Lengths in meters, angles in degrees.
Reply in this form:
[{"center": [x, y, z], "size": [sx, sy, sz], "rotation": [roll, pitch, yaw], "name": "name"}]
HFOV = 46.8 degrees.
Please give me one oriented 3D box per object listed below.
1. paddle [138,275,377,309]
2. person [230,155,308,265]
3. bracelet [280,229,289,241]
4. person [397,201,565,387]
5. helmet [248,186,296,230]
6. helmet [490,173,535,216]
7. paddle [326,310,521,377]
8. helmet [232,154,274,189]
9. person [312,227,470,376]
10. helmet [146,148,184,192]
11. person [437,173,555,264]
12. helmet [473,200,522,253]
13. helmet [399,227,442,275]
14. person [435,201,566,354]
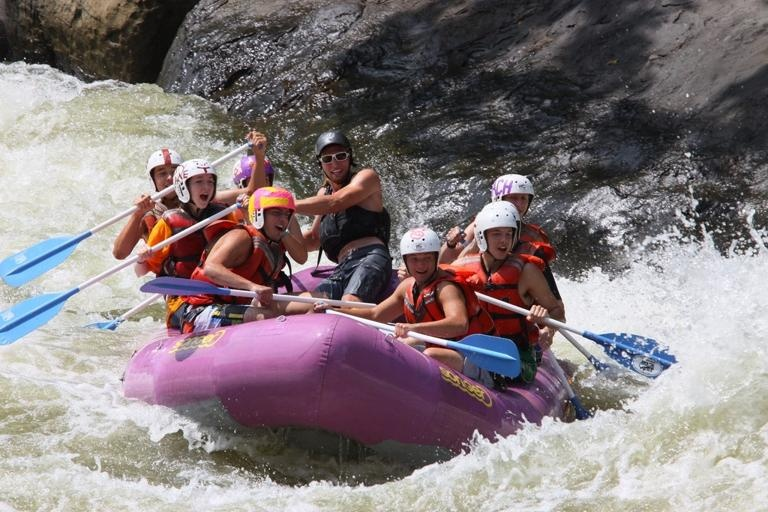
[{"center": [-1.221, 0.371, 9.003], "size": [1.687, 0.068, 0.194], "rotation": [6, 27, 13], "name": "paddle"}, {"center": [-1.254, -0.581, 9.845], "size": [0.682, 1.427, 0.477], "rotation": [-11, -6, -12], "name": "person"}, {"center": [-1.038, -0.249, 9.418], "size": [0.071, 0.023, 0.119], "rotation": [19, 29, -11], "name": "bracelet"}, {"center": [1.079, 0.759, 9.193], "size": [1.351, 2.563, 0.934], "rotation": [3, 14, 16], "name": "person"}, {"center": [-1.156, -0.505, 9.035], "size": [0.519, 0.392, 0.468], "rotation": [2, 3, 0], "name": "helmet"}, {"center": [1.423, -0.686, 10.060], "size": [0.475, 0.525, 0.577], "rotation": [-4, 4, -8], "name": "helmet"}, {"center": [0.352, 0.841, 8.270], "size": [1.788, 0.291, 0.131], "rotation": [15, -29, 3], "name": "paddle"}, {"center": [-1.590, -1.017, 10.378], "size": [0.372, 0.404, 0.496], "rotation": [-15, 9, -34], "name": "helmet"}, {"center": [0.084, 0.478, 8.721], "size": [0.973, 0.808, 1.170], "rotation": [26, 48, -23], "name": "person"}, {"center": [-2.441, -0.970, 9.991], "size": [0.423, 0.511, 0.523], "rotation": [-9, 4, -9], "name": "helmet"}, {"center": [1.230, -0.446, 9.827], "size": [0.817, 0.739, 1.308], "rotation": [11, -18, -33], "name": "person"}, {"center": [1.122, -0.316, 9.088], "size": [0.407, 0.460, 0.530], "rotation": [4, -8, -16], "name": "helmet"}, {"center": [0.346, 0.040, 8.699], "size": [0.370, 0.415, 0.463], "rotation": [1, -17, -15], "name": "helmet"}, {"center": [1.138, 0.483, 9.223], "size": [1.456, 2.001, 0.990], "rotation": [4, 25, 14], "name": "person"}]
